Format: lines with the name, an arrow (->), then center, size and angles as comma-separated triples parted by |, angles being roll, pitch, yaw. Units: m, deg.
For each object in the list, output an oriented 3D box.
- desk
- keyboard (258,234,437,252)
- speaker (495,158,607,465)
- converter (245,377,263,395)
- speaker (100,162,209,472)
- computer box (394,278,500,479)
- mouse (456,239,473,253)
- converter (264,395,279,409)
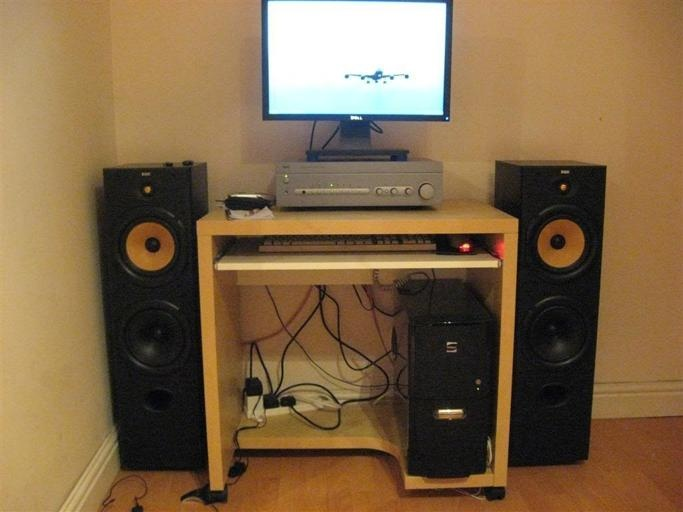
desk -> 0.046, 0.302, 2.575 | 1.097, 0.957, 0.594 | 0, 10, 1
keyboard -> 0.024, -0.046, 2.383 | 0.630, 0.049, 0.094 | -1, 13, -1
speaker -> 0.737, 0.225, 2.582 | 0.432, 1.142, 0.413 | -1, 4, -30
converter -> -0.369, 0.532, 2.740 | 0.063, 0.039, 0.061 | -1, 55, -2
speaker -> -0.622, 0.235, 2.594 | 0.451, 1.138, 0.484 | -3, 4, 2
computer box -> 0.350, 0.430, 2.442 | 0.342, 0.630, 0.338 | -2, 16, -26
mouse -> 0.449, -0.040, 2.380 | 0.048, 0.041, 0.111 | 9, 16, 34
converter -> -0.279, 0.585, 2.724 | 0.053, 0.040, 0.051 | 1, 10, -7
